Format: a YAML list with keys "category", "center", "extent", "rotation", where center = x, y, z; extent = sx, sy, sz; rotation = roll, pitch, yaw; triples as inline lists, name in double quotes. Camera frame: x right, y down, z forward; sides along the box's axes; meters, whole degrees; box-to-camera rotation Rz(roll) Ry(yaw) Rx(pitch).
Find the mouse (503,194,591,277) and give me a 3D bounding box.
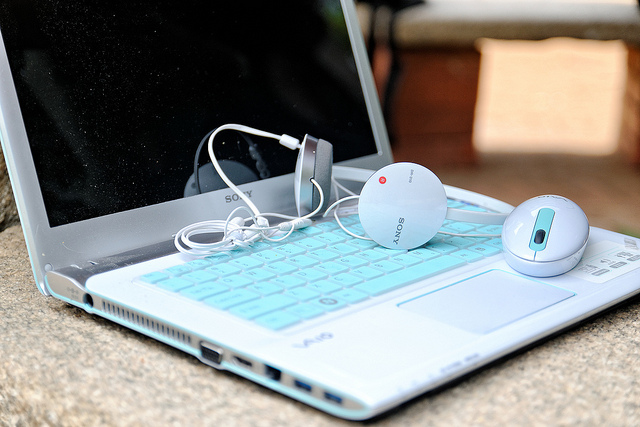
- category: "mouse"
  center: [0.315, 0.017, 0.723]
  extent: [0.113, 0.059, 0.170]
  rotation: [10, 34, 27]
